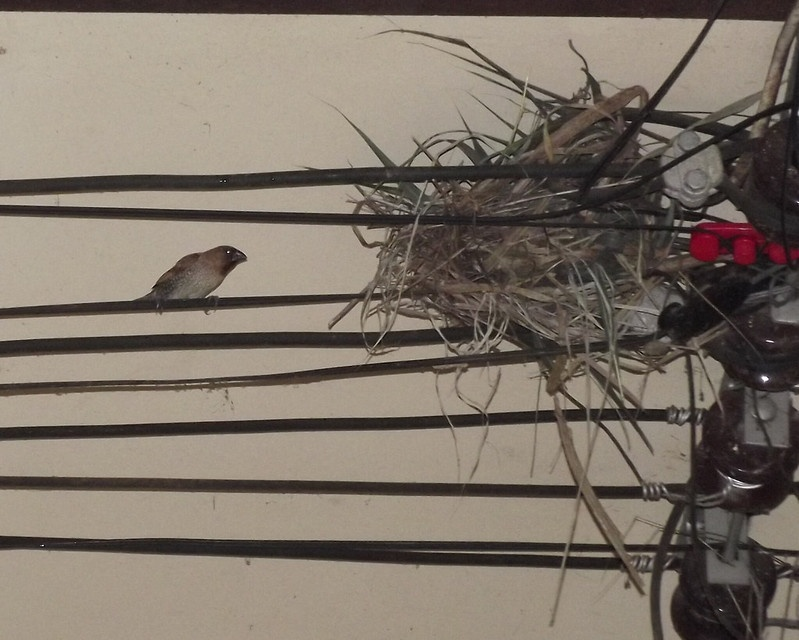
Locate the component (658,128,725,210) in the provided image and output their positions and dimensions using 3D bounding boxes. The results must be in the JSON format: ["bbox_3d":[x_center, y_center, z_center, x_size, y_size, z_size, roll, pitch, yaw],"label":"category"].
[{"bbox_3d":[0.517,-0.260,2.276,0.100,0.135,0.053,-3,-3,14],"label":"component"}]

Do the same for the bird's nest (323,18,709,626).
[{"bbox_3d":[0.313,-0.018,2.617,0.954,0.944,0.351,-16,0,19],"label":"bird's nest"}]

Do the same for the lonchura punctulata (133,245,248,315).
[{"bbox_3d":[-0.437,-0.085,2.530,0.292,0.130,0.092,3,2,20],"label":"lonchura punctulata"}]
